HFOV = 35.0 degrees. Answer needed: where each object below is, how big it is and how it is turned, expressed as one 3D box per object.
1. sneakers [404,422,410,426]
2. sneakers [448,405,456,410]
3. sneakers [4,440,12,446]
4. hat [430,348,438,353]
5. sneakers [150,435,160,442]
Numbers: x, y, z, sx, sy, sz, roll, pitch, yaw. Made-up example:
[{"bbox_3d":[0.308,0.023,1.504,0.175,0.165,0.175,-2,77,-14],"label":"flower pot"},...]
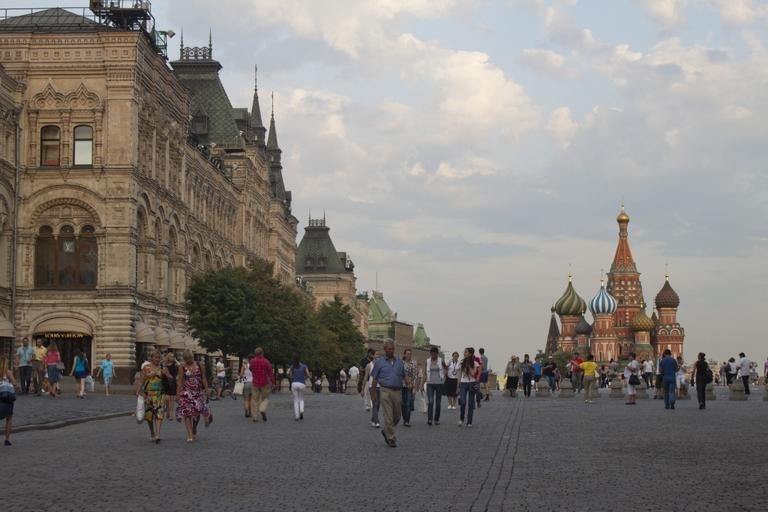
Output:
[{"bbox_3d":[0.690,5.607,40.339,0.116,0.117,0.297,2,3,10],"label":"sneakers"},{"bbox_3d":[2.634,6.179,49.240,0.201,0.204,0.515,1,-1,7],"label":"sneakers"},{"bbox_3d":[-10.494,5.252,34.044,0.203,0.180,0.117,0,-1,-13],"label":"sneakers"},{"bbox_3d":[1.572,3.082,39.565,0.247,0.143,0.233,0,-4,1],"label":"hat"},{"bbox_3d":[-6.668,5.333,35.384,0.141,0.135,0.392,3,-16,-12],"label":"sneakers"}]
